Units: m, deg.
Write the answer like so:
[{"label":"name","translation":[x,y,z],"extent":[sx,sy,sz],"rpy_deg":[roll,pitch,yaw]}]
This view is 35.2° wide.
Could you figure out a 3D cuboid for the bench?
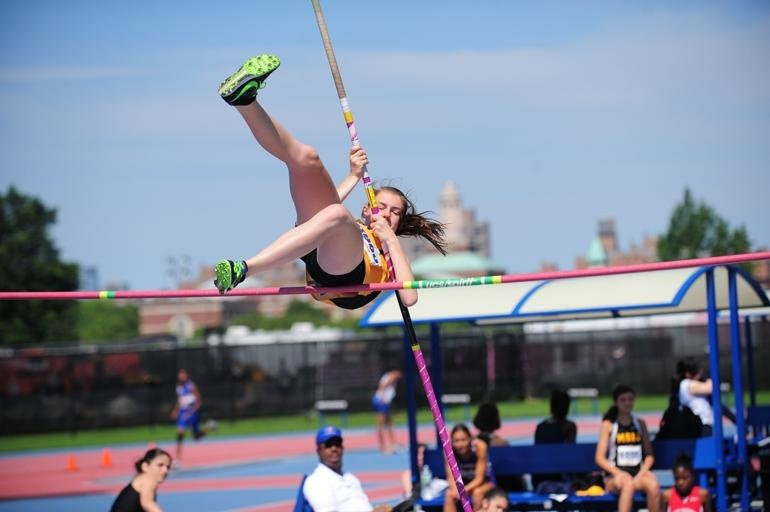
[{"label":"bench","translation":[3.134,3.793,21.105],"extent":[5.010,0.886,1.008],"rpy_deg":[-5,-3,12]}]
